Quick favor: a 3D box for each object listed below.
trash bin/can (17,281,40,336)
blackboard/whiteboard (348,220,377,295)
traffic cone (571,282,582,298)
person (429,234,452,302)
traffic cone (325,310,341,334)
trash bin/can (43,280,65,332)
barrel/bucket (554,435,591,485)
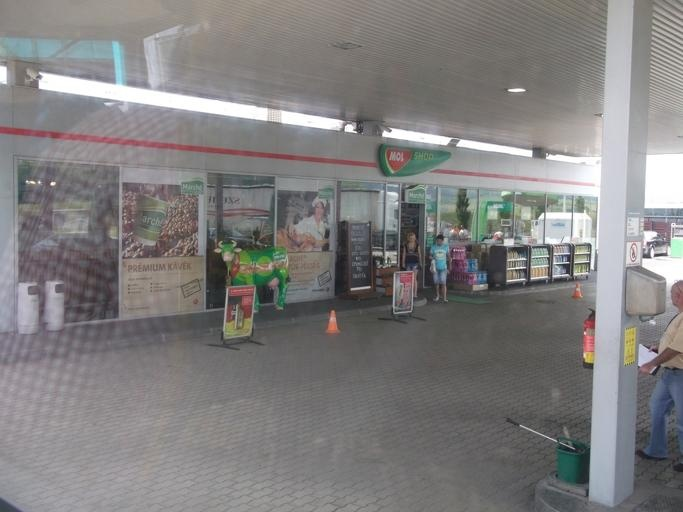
[{"bbox_3d":[-6.380,0.970,9.787,0.397,0.993,0.247,2,5,9],"label":"trash bin/can"},{"bbox_3d":[0.579,-0.055,14.756,0.358,2.055,1.085,6,7,43],"label":"blackboard/whiteboard"},{"bbox_3d":[8.585,1.124,17.590,0.364,0.414,0.360,-13,11,-43],"label":"traffic cone"},{"bbox_3d":[3.167,0.250,15.444,0.565,2.029,1.446,2,6,11],"label":"person"},{"bbox_3d":[-0.198,1.417,11.040,0.383,0.474,0.404,0,-3,-1],"label":"traffic cone"},{"bbox_3d":[-6.023,0.945,10.089,0.367,0.999,0.249,-1,6,-25],"label":"trash bin/can"},{"bbox_3d":[2.319,1.966,4.829,0.295,0.349,0.340,4,6,25],"label":"barrel/bucket"}]
